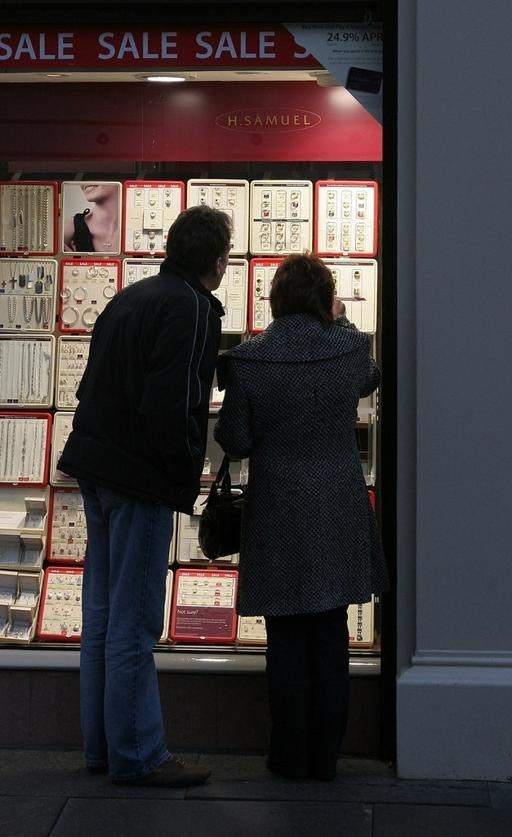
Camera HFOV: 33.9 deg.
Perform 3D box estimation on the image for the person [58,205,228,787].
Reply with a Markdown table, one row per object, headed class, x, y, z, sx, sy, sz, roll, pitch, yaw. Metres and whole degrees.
| class | x | y | z | sx | sy | sz | roll | pitch | yaw |
| --- | --- | --- | --- | --- | --- | --- | --- | --- | --- |
| person | -0.324 | 0.203 | 2.483 | 0.394 | 1.680 | 0.480 | 3 | 3 | -33 |
